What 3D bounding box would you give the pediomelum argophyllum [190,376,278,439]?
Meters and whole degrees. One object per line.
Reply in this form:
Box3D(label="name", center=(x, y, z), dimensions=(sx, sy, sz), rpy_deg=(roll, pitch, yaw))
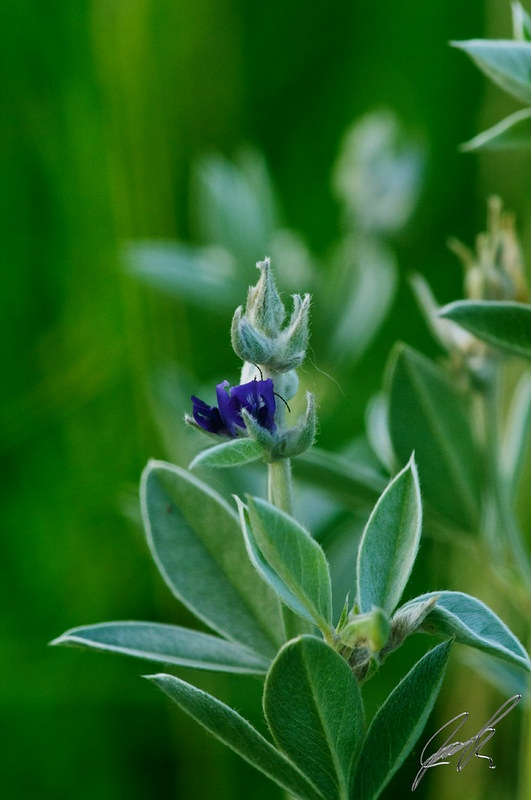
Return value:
Box3D(label="pediomelum argophyllum", center=(-0.013, 0.003, 0.400), dimensions=(0.039, 0.027, 0.028), rpy_deg=(8, 23, 43))
